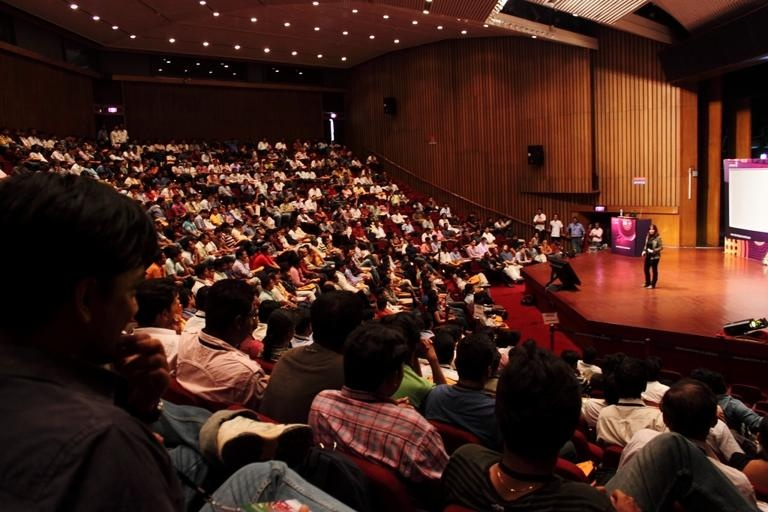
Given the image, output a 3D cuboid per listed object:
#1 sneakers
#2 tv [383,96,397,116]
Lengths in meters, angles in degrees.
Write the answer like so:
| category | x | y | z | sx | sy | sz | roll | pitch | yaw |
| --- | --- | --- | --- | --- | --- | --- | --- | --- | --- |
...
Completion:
| category | x | y | z | sx | sy | sz | roll | pitch | yaw |
| --- | --- | --- | --- | --- | --- | --- | --- | --- | --- |
| sneakers | -0.423 | 0.644 | 1.739 | 0.349 | 0.131 | 0.247 | 5 | 1 | -10 |
| tv | 0.337 | -7.137 | 22.380 | 0.675 | 0.899 | 0.471 | 5 | 6 | 18 |
